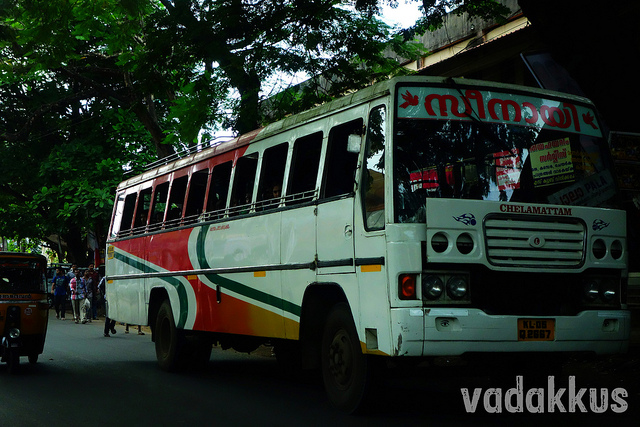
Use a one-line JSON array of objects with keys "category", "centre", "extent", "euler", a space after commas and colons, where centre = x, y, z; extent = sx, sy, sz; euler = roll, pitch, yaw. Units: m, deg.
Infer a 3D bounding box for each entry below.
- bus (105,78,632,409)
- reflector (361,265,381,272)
[{"category": "bus", "centre": [-0.789, 0.779, 10.083], "extent": [2.888, 4.609, 11.360], "euler": [9, -13, -38]}, {"category": "reflector", "centre": [0.589, 0.650, 6.239], "extent": [0.006, 0.086, 0.391], "euler": [7, -12, -30]}]
